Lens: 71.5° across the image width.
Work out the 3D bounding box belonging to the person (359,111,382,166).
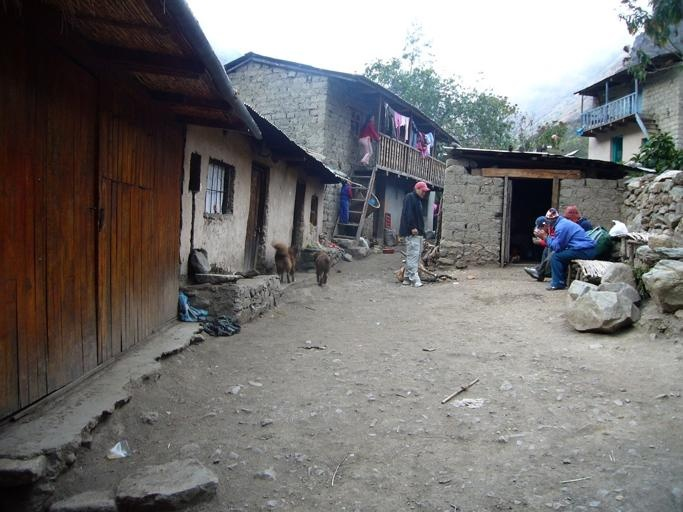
[{"bbox_3d":[1.081,-4.640,19.124,0.759,1.754,0.825,-7,13,-16],"label":"person"}]

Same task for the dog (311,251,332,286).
[{"bbox_3d":[-0.541,0.218,11.892,0.388,0.739,1.243,6,8,-8],"label":"dog"}]

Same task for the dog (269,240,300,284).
[{"bbox_3d":[-1.307,0.181,11.131,0.300,0.719,1.244,-10,19,-19],"label":"dog"}]

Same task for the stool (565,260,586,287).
[{"bbox_3d":[4.517,0.359,9.196,0.219,0.595,0.970,1,14,21],"label":"stool"}]

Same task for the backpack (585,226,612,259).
[{"bbox_3d":[5.423,-0.289,10.005,0.332,0.650,0.454,-16,19,24],"label":"backpack"}]

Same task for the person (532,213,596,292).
[{"bbox_3d":[4.621,-0.135,9.782,0.866,1.355,1.153,-2,13,8],"label":"person"}]

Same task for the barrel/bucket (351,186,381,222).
[{"bbox_3d":[0.885,-2.062,19.715,1.359,1.003,1.322,27,15,-8],"label":"barrel/bucket"}]

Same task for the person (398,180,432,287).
[{"bbox_3d":[1.640,-0.498,10.847,0.555,2.388,0.545,0,13,15],"label":"person"}]

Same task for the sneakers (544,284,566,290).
[{"bbox_3d":[4.312,0.598,9.530,0.327,0.157,0.125,3,-2,12],"label":"sneakers"}]

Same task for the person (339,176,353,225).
[{"bbox_3d":[0.179,-2.167,18.808,0.653,1.572,0.525,-10,14,-25],"label":"person"}]
